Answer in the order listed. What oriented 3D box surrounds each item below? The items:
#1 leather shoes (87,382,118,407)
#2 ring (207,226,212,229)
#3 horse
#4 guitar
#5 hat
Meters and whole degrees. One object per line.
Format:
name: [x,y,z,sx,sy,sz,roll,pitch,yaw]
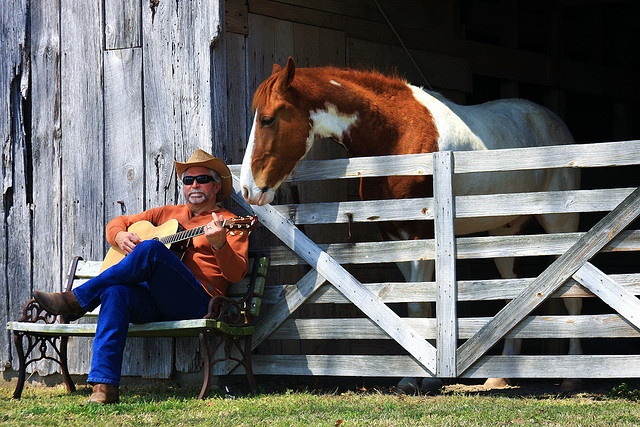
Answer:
leather shoes: [-2.029,1.689,11.598,0.277,0.192,0.172,4,-3,-18]
ring: [-1.070,0.137,11.807,0.068,0.032,0.018,1,-3,42]
horse: [0.925,0.163,12.792,3.609,3.267,0.986,4,-3,-20]
guitar: [-1.442,0.232,12.203,1.315,0.604,1.158,4,31,0]
hat: [-1.235,-0.545,12.530,0.424,0.205,0.530,-8,4,-9]
